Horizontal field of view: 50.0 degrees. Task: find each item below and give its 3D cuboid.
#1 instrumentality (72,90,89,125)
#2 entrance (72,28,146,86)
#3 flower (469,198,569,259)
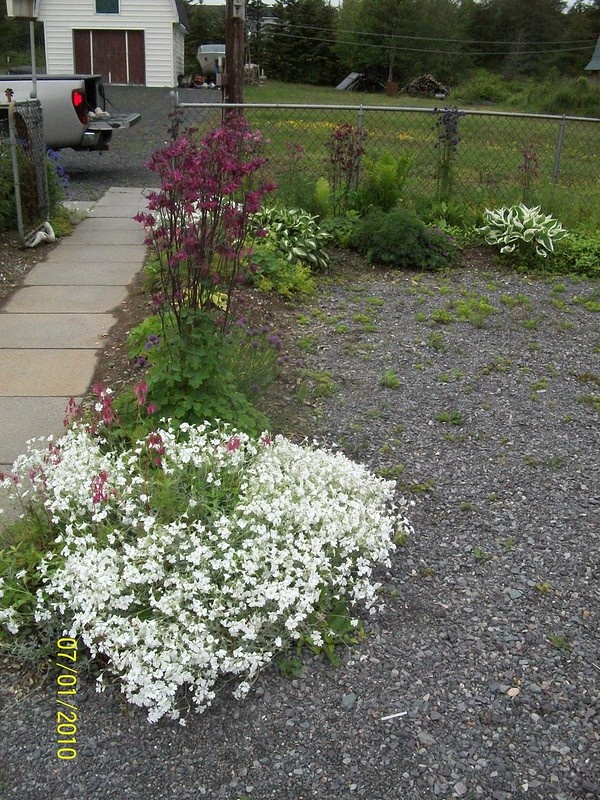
[{"bbox_3d":[-3.158,-4.221,9.254,0.084,0.343,0.177,19,36,34],"label":"instrumentality"},{"bbox_3d":[-6.919,-12.501,23.309,2.620,1.887,0.326,-13,47,-24],"label":"entrance"},{"bbox_3d":[2.287,-1.623,6.503,0.710,0.399,0.693,-9,42,-21],"label":"flower"}]
